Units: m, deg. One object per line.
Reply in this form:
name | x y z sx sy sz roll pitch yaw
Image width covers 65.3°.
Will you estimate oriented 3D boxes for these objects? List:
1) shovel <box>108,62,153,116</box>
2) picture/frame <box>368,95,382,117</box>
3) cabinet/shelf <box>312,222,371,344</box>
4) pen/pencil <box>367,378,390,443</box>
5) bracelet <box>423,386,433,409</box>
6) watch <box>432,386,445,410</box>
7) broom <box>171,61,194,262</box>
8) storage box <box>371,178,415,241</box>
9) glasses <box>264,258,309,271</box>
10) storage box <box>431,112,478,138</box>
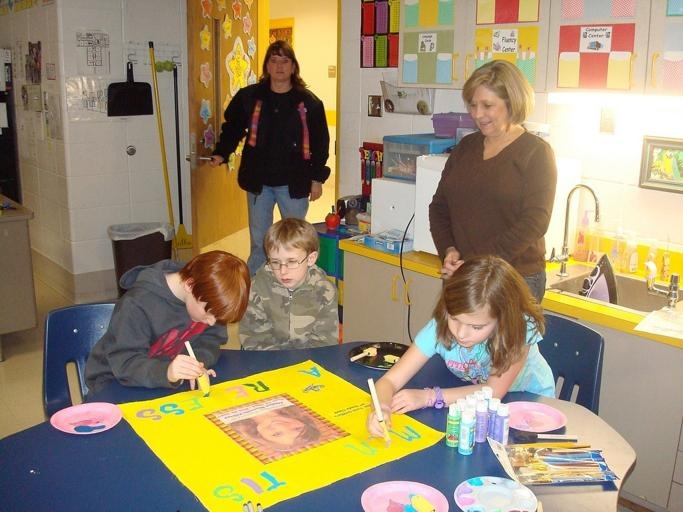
shovel | -1.969 -1.544 4.904 0.439 0.513 0.055 -13 24 -40
picture/frame | 0.267 -1.190 4.224 0.019 0.192 0.163 -9 12 -44
cabinet/shelf | 0.125 0.169 4.317 0.456 0.678 0.449 -11 2 -24
pen/pencil | 0.110 0.461 1.584 0.019 0.177 0.020 -8 -24 -26
bracelet | 0.276 0.452 1.704 0.032 0.046 0.016 -2 -11 8
watch | 0.309 0.452 1.697 0.038 0.057 0.022 -2 -14 10
broom | -1.620 -0.929 5.323 0.150 1.876 0.163 -3 13 -18
storage box | 0.354 -0.314 3.528 0.115 0.327 0.345 -11 20 -38
glasses | -0.218 0.034 2.275 0.155 0.048 0.069 -3 13 -17
storage box | 0.735 -0.876 3.540 0.180 0.125 0.252 4 18 10
